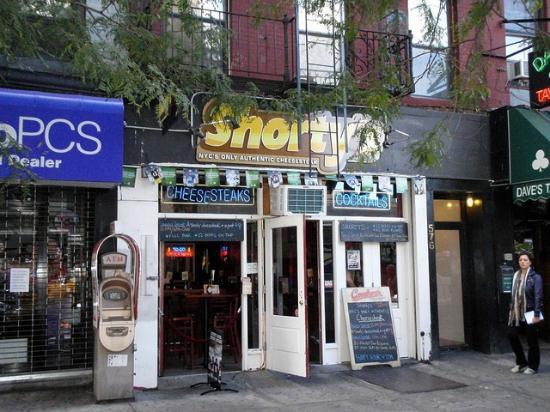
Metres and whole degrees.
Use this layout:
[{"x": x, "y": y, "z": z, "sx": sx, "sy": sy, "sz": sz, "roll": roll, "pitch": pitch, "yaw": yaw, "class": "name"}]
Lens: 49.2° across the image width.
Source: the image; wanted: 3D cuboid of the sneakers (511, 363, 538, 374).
[{"x": 4.368, "y": 2.893, "z": 10.540, "sx": 0.384, "sy": 0.184, "sz": 0.155, "roll": 8, "pitch": -15, "yaw": 3, "class": "sneakers"}]

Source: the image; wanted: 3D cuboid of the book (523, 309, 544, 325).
[{"x": 4.434, "y": 1.944, "z": 10.508, "sx": 0.235, "sy": 0.271, "sz": 0.062, "roll": -4, "pitch": -2, "yaw": -1, "class": "book"}]

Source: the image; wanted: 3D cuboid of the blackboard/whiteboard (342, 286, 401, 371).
[{"x": 1.725, "y": 2.299, "z": 11.058, "sx": 1.333, "sy": 2.117, "sz": 0.080, "roll": 2, "pitch": -23, "yaw": -20, "class": "blackboard/whiteboard"}]

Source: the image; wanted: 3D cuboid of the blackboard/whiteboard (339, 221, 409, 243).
[{"x": 1.899, "y": 0.475, "z": 11.534, "sx": 1.383, "sy": 0.371, "sz": 0.317, "roll": 0, "pitch": 1, "yaw": -28, "class": "blackboard/whiteboard"}]

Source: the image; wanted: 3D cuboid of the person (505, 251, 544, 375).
[{"x": 4.451, "y": 1.891, "z": 10.668, "sx": 0.547, "sy": 2.118, "sz": 0.573, "roll": 1, "pitch": 1, "yaw": 28, "class": "person"}]

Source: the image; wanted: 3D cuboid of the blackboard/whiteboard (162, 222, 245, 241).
[{"x": -1.288, "y": 0.423, "z": 10.647, "sx": 1.525, "sy": 0.430, "sz": 0.196, "roll": 0, "pitch": 1, "yaw": -19, "class": "blackboard/whiteboard"}]
